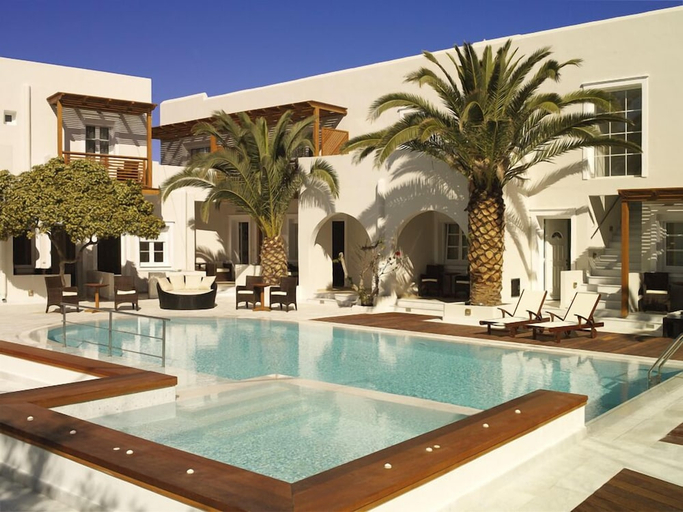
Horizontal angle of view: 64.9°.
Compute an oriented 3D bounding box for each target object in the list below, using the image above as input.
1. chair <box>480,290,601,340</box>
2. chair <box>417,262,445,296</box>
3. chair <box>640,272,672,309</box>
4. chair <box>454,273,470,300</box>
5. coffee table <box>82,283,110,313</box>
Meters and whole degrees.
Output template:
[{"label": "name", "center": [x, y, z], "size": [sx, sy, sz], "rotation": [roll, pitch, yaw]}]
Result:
[{"label": "chair", "center": [4.996, 1.443, 13.289], "size": [2.407, 1.101, 2.099], "rotation": [-2, 3, -30]}, {"label": "chair", "center": [3.304, 0.910, 19.684], "size": [0.950, 1.107, 1.092], "rotation": [0, 3, 7]}, {"label": "chair", "center": [8.671, 0.978, 14.805], "size": [0.736, 0.919, 0.702], "rotation": [1, 3, 33]}, {"label": "chair", "center": [4.240, 1.093, 18.892], "size": [0.463, 0.962, 1.849], "rotation": [0, 3, 11]}, {"label": "coffee table", "center": [-8.347, 1.433, 18.391], "size": [0.881, 0.851, 0.839], "rotation": [0, -1, -38]}]
